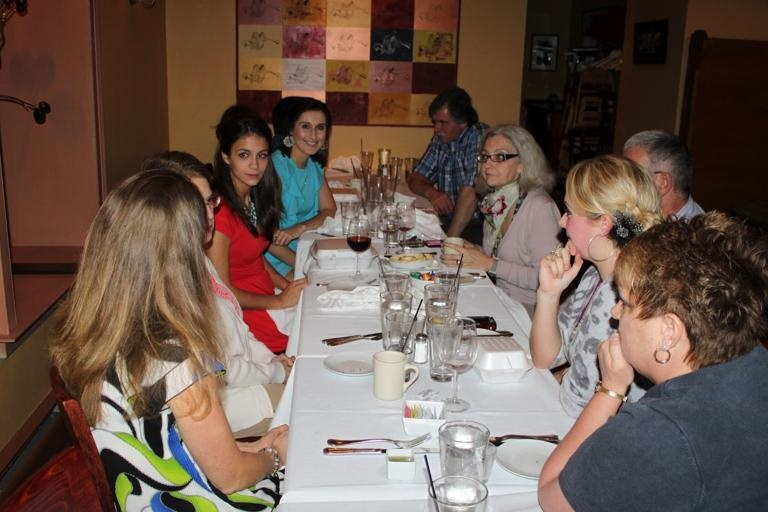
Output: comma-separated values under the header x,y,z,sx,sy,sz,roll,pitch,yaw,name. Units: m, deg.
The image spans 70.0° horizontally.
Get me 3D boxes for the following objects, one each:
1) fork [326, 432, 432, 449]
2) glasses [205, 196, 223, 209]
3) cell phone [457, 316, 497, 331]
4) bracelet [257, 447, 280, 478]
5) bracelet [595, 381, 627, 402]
x,y,z,sx,sy,sz,roll,pitch,yaw,name
-0.012,0.509,1.497,0.286,0.022,0.045,-1,13,-3,fork
-0.691,-0.209,2.196,0.082,0.031,0.080,2,11,0,glasses
0.382,0.259,2.127,0.099,0.040,0.100,2,5,-8,cell phone
-0.356,0.652,1.734,0.068,0.092,0.051,-4,-18,21,bracelet
0.604,0.367,1.472,0.069,0.034,0.061,35,3,32,bracelet
